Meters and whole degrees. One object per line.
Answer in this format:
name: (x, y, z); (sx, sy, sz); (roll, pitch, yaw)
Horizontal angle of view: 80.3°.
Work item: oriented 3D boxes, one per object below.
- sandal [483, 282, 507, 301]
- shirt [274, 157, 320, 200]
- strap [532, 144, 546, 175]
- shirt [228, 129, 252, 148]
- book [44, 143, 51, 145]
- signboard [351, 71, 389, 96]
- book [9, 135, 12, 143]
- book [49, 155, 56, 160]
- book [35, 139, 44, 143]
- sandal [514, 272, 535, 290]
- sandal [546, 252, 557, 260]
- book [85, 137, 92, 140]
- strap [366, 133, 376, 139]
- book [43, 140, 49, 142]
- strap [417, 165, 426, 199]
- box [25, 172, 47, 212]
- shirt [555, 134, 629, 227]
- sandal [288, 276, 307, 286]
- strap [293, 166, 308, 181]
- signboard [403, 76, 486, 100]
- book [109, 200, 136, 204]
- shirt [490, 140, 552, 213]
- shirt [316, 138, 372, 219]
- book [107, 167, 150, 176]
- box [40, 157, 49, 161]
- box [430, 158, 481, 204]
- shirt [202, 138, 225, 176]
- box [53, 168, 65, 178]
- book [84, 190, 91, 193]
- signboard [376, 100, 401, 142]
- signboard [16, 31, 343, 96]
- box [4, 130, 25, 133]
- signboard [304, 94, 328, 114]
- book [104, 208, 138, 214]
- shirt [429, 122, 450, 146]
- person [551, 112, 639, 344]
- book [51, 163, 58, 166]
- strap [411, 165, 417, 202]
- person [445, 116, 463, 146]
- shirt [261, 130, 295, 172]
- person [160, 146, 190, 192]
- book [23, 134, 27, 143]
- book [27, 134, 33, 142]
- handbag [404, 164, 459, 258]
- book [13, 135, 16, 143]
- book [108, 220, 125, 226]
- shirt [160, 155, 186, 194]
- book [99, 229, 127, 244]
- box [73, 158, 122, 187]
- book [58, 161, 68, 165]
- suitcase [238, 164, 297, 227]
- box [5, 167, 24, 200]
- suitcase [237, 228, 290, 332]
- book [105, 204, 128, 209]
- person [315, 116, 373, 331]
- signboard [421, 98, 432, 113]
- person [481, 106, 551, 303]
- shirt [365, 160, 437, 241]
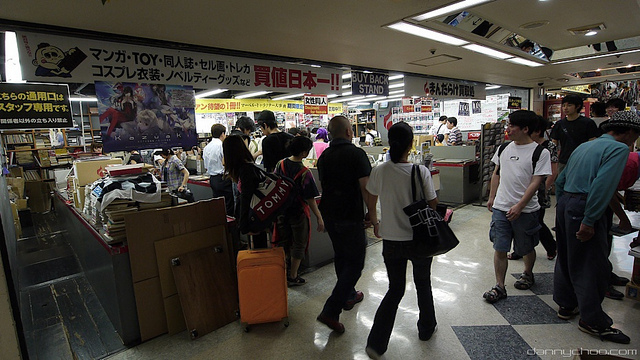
sandal: (2.539, 1.622, 5.438); (0.413, 0.172, 0.154); (4, -9, -31)
shirt: (-0.358, 0.036, 5.682); (0.927, 0.662, 0.356); (17, 23, 38)
strap: (2.999, -0.283, 5.210); (0.227, 0.391, 0.103); (-15, 17, -43)
shirt: (-1.423, -0.782, 6.712); (0.366, 0.307, 0.294); (8, 21, 2)
book: (-8.124, -1.086, 11.306); (0.177, 0.039, 0.027); (-1, -3, -18)
signboard: (1.062, -1.982, 7.813); (1.053, 0.500, 0.036); (-7, 7, -35)
book: (-8.821, -1.165, 10.804); (0.030, 0.180, 0.065); (1, 13, 18)
book: (-7.825, -0.666, 11.096); (0.155, 0.086, 0.045); (-10, 14, -33)
book: (-8.290, -1.166, 11.227); (0.178, 0.103, 0.049); (-12, 15, -38)
sandal: (3.061, 1.518, 5.640); (0.374, 0.139, 0.158); (2, -4, -43)
sandal: (3.852, 1.265, 6.275); (0.112, 0.093, 0.102); (3, 14, 27)
book: (-7.520, -1.363, 12.340); (0.225, 0.072, 0.083); (-4, 12, -10)
strap: (1.692, -1.438, 12.085); (0.133, 0.133, 0.333); (-6, 12, -13)
book: (-8.167, -1.176, 11.291); (0.147, 0.070, 0.092); (5, 2, 9)
strap: (1.246, 0.023, 4.636); (0.049, 0.397, 0.103); (-14, 17, -39)
box: (-7.579, 0.427, 10.109); (0.374, 0.817, 0.441); (-11, 15, -33)
shirt: (3.639, -0.006, 5.067); (0.492, 1.173, 0.908); (13, 4, 2)
sandal: (-0.322, 1.581, 5.982); (0.325, 0.126, 0.111); (-1, 1, -17)
strap: (-0.261, -0.093, 5.468); (0.171, 0.040, 0.160); (-44, 12, -14)
signboard: (3.068, -2.234, 9.187); (2.753, 0.548, 0.192); (-10, 14, -34)
book: (-2.640, 0.293, 5.064); (0.299, 0.041, 0.025); (-7, 13, -22)
shirt: (2.820, -0.056, 5.331); (0.735, 0.966, 0.430); (3, 14, 26)
shirt: (0.334, -0.018, 5.072); (0.710, 1.069, 0.367); (-3, 13, -1)
book: (-2.652, -0.128, 5.272); (0.494, 0.082, 0.080); (-7, 13, -23)
box: (-8.021, -0.630, 11.023); (0.191, 0.114, 0.041); (6, -6, -21)
box: (3.314, -0.040, 9.736); (1.487, 1.237, 1.468); (3, 7, 39)
shirt: (-2.001, -0.433, 7.183); (0.368, 0.680, 0.612); (-7, 13, -15)
box: (-5.879, -0.170, 8.539); (0.311, 0.254, 0.152); (0, -2, -21)
book: (-3.542, 0.168, 5.791); (0.070, 0.041, 0.038); (0, -1, 30)
signboard: (2.992, -2.562, 16.309); (0.615, 1.635, 1.411); (7, 16, 37)
signboard: (-2.103, -1.818, 6.048); (4.389, 0.918, 0.294); (-7, 13, -23)
box: (-8.691, -1.385, 10.803); (0.173, 0.087, 0.468); (3, 13, 26)
signboard: (-0.104, -2.018, 9.997); (0.736, 0.445, 0.103); (-6, 5, -37)
book: (-2.630, 0.407, 5.052); (0.353, 0.036, 0.039); (-7, 13, -21)
shirt: (3.319, -1.306, 10.431); (0.477, 0.527, 1.303); (1, 12, 16)
person: (3.529, 0.765, 4.922); (0.810, 2.558, 0.626); (4, 14, 28)
book: (-7.788, -0.466, 11.127); (0.051, 0.078, 0.153); (7, 15, 39)
strap: (1.158, 0.035, 4.632); (0.060, 0.431, 0.127); (0, 13, 13)
person: (3.562, -1.319, 10.092); (0.498, 0.713, 0.789); (3, 26, 24)
shirt: (-0.710, -0.487, 6.388); (0.660, 0.557, 0.329); (-10, -23, -37)
person: (-2.892, -0.219, 7.483); (0.528, 0.870, 0.466); (-8, 13, -20)
book: (-8.583, -1.225, 11.032); (0.059, 0.219, 0.049); (5, 15, 32)
book: (-8.509, -1.245, 11.106); (0.124, 0.187, 0.211); (-17, 21, -25)
handbag: (1.358, 0.388, 4.568); (0.530, 1.124, 0.362); (5, 15, 33)
book: (-8.778, -1.191, 10.877); (0.026, 0.217, 0.031); (7, 17, 39)
book: (-2.718, 0.564, 5.005); (0.233, 0.068, 0.072); (0, 13, 13)
shirt: (-2.891, -0.138, 7.489); (0.432, 0.712, 0.321); (-11, 15, -31)
book: (-2.753, 0.741, 5.069); (0.240, 0.050, 0.240); (13, 9, 40)
box: (-3.595, -0.147, 6.334); (0.711, 0.377, 0.356); (-6, 5, -14)
book: (-7.669, -0.519, 11.298); (0.174, 0.098, 0.032); (1, -8, -24)
suitcase: (-0.723, 0.205, 5.228); (0.382, 0.667, 0.669); (-17, 35, 58)
box: (-7.496, 0.088, 9.294); (0.454, 0.523, 0.829); (-2, -5, -45)
suitcase: (-0.807, 1.354, 5.387); (0.742, 1.282, 0.523); (-4, 8, -5)
book: (-2.707, 0.343, 5.041); (0.259, 0.051, 0.028); (-6, 13, -17)
person: (0.317, 0.575, 5.143); (0.814, 2.832, 0.830); (-2, 13, 6)
signboard: (4.043, -2.799, 14.267); (0.404, 0.485, 1.650); (1, 12, 16)
person: (2.940, 0.316, 5.623); (0.755, 2.686, 1.437); (4, 14, 29)
shirt: (0.996, 0.246, 4.677); (0.841, 0.984, 0.282); (0, 13, 12)
